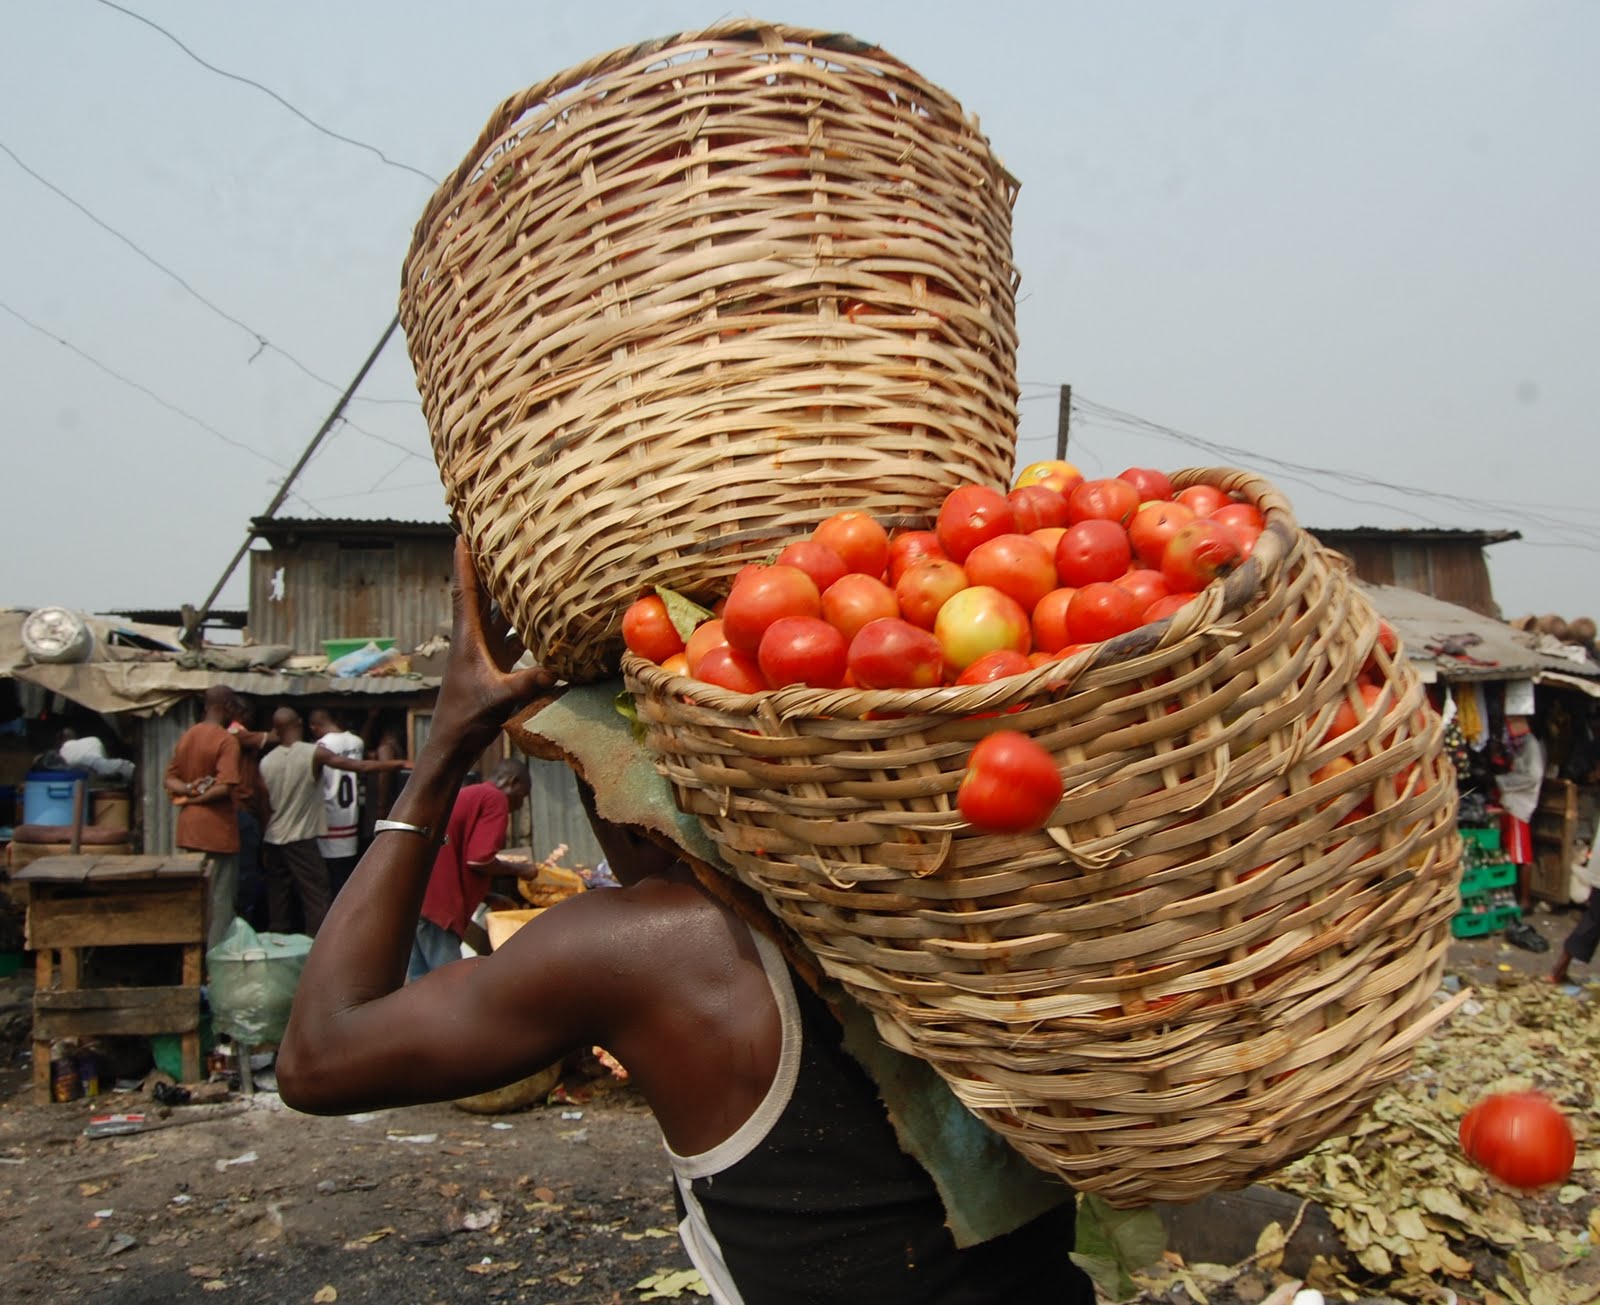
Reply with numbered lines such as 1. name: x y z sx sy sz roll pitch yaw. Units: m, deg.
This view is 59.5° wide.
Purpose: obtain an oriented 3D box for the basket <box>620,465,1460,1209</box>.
1. basket: 0.729 0.369 2.906 1.384 1.025 1.400 -28 -8 7

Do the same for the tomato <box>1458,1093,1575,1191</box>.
1. tomato: 1.670 1.119 3.274 0.271 0.160 0.250 3 5 32

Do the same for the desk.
1. desk: -3.765 1.765 7.817 0.946 1.395 0.857 -5 1 -24
